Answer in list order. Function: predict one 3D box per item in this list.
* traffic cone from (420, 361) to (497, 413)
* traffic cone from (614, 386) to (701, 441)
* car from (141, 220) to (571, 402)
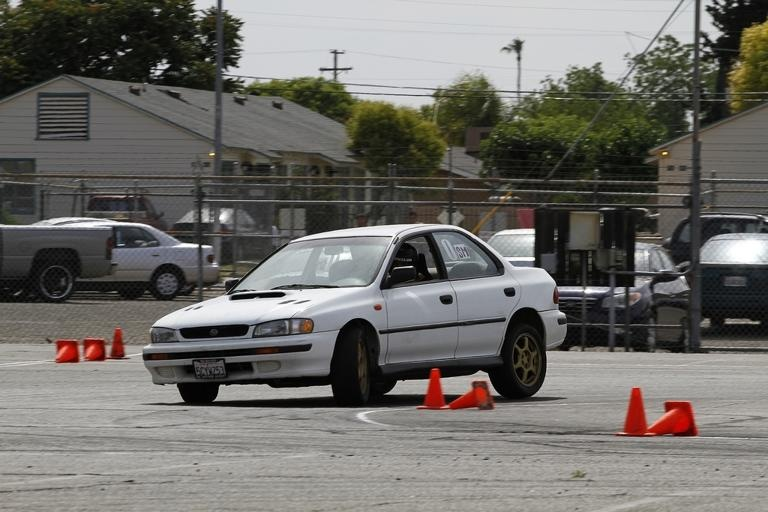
[{"bbox_3d":[0.871,1.721,16.554,1.088,0.343,0.450,-4,-3,15],"label":"traffic cone"},{"bbox_3d":[3.047,1.824,15.128,1.046,0.453,0.543,-3,1,-14],"label":"traffic cone"},{"bbox_3d":[-0.271,0.699,17.162,4.967,2.258,1.745,1,5,-30],"label":"car"}]
